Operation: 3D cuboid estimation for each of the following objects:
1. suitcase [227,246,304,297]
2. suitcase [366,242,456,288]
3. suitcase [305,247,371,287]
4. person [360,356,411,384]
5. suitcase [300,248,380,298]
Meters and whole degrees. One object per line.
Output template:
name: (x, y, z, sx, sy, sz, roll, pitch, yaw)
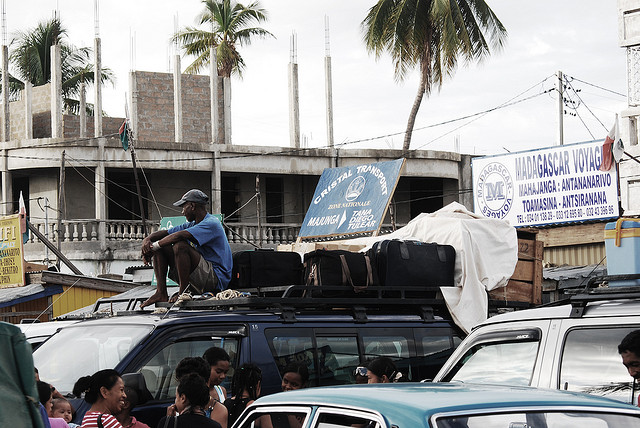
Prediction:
suitcase: (-1.214, 1.063, 26.052, 1.131, 0.821, 0.692, 9, 0, 12)
suitcase: (1.697, 0.930, 25.655, 1.884, 0.834, 0.273, 0, 0, -23)
suitcase: (0.294, 1.007, 25.127, 0.989, 0.609, 0.759, 0, -10, -15)
person: (1.167, 2.764, 23.872, 0.835, 0.477, 1.113, 0, 0, -13)
suitcase: (0.468, 1.089, 25.399, 1.377, 0.813, 1.041, 2, -4, -37)
